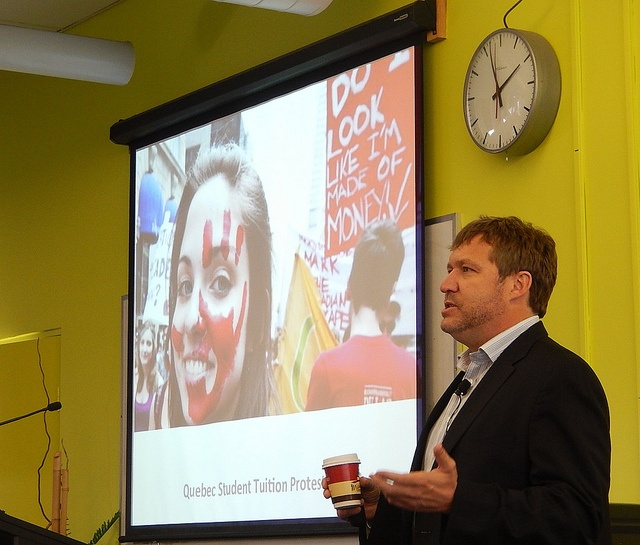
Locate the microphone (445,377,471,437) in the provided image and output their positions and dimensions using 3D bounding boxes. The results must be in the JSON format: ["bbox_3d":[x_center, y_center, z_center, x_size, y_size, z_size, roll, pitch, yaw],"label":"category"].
[{"bbox_3d":[0.351,0.311,1.970,0.019,0.190,0.041,28,-16,-13],"label":"microphone"}]

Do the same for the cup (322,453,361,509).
[{"bbox_3d":[0.064,0.535,1.996,0.106,0.125,0.119,-19,-21,19],"label":"cup"}]

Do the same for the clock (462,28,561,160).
[{"bbox_3d":[0.701,-0.643,2.852,0.110,0.523,0.398,3,-13,-26],"label":"clock"}]
